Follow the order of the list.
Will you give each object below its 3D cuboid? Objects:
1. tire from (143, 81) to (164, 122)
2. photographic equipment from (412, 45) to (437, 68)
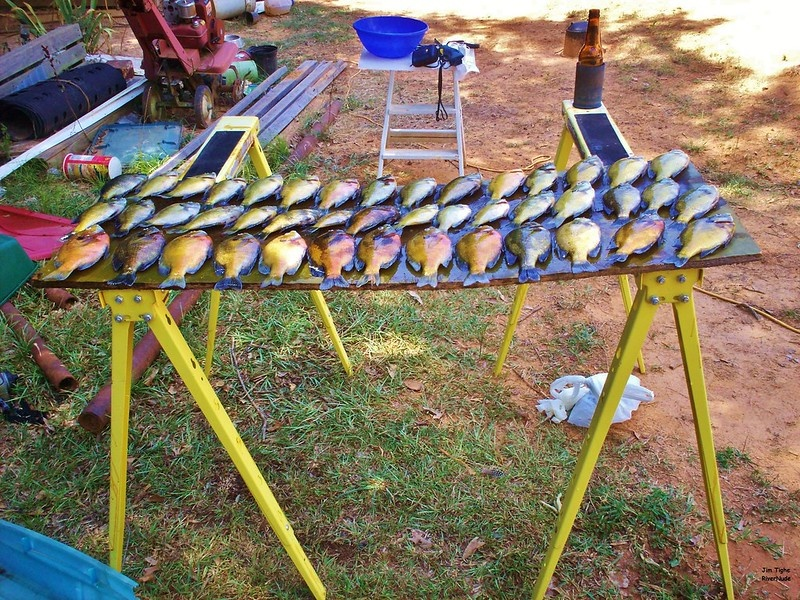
[{"bbox_3d":[-2.704,-2.126,6.698,0.113,0.375,0.325,10,34,17],"label":"tire"},{"bbox_3d":[0.204,-2.075,5.272,0.211,0.156,0.306,-1,32,1],"label":"photographic equipment"}]
